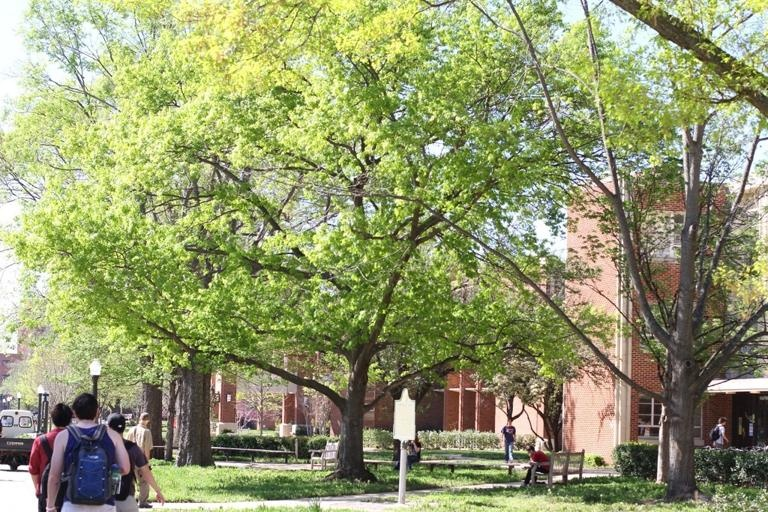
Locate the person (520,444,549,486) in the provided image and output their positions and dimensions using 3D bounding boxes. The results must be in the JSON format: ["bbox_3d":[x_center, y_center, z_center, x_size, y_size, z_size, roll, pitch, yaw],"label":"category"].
[{"bbox_3d":[5.168,7.098,33.028,0.901,1.365,1.690,-1,-17,8],"label":"person"}]
